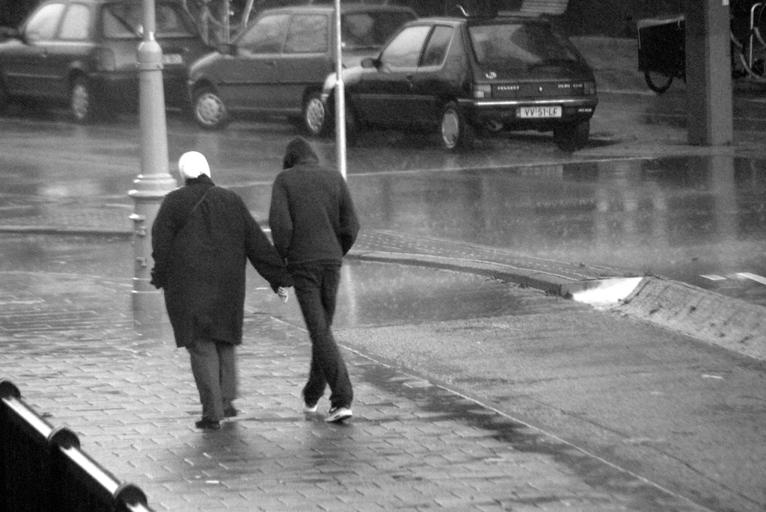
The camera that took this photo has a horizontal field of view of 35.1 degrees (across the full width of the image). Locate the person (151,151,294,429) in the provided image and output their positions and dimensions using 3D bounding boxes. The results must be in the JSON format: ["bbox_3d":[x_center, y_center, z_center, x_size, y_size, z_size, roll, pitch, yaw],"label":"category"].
[{"bbox_3d":[-1.291,0.222,8.808,0.742,1.851,0.807,11,20,39],"label":"person"}]

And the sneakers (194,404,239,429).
[{"bbox_3d":[-1.189,1.152,8.672,0.324,0.124,0.117,-1,6,-22],"label":"sneakers"}]

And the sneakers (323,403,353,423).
[{"bbox_3d":[-0.329,1.120,8.775,0.200,0.146,0.216,-2,15,-1],"label":"sneakers"}]
